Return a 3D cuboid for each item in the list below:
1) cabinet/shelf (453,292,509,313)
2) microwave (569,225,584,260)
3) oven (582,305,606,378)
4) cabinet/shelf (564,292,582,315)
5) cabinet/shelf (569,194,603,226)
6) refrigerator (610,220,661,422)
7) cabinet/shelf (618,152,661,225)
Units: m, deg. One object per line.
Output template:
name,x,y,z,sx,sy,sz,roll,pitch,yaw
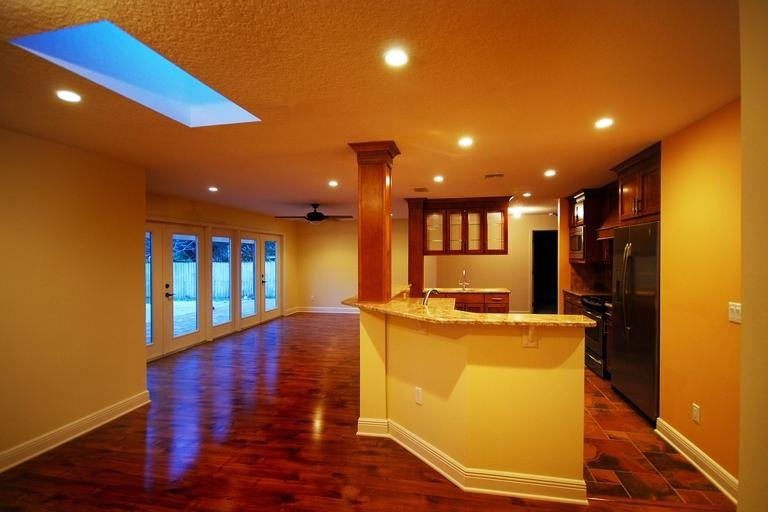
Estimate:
cabinet/shelf,1.601,0.746,8.486,0.853,0.324,0.292,0,0,6
microwave,2.813,-0.191,7.538,0.264,0.441,0.521,1,-1,11
oven,2.729,1.063,6.769,0.257,0.992,0.710,0,0,5
cabinet/shelf,2.719,0.678,7.419,0.134,0.307,0.330,1,1,7
cabinet/shelf,2.911,-0.658,7.411,0.203,0.474,0.529,1,0,6
refrigerator,2.753,0.687,5.706,0.278,2.072,0.739,0,0,7
cabinet/shelf,2.816,-0.749,5.661,0.308,0.681,0.799,0,-2,12
